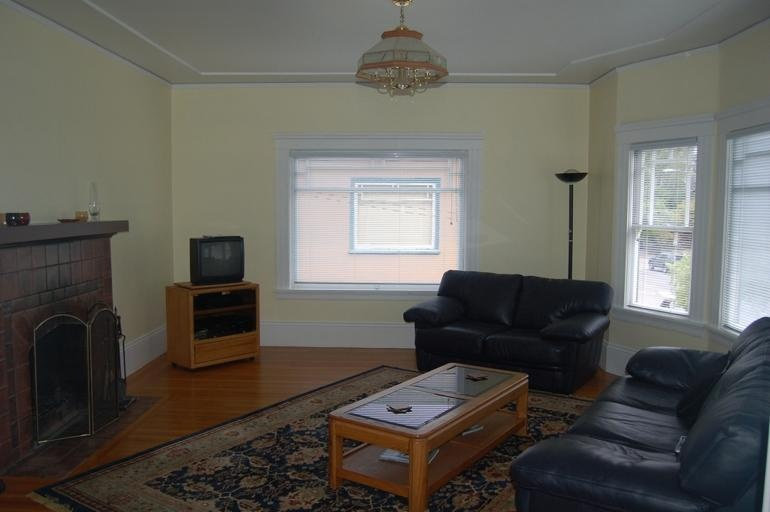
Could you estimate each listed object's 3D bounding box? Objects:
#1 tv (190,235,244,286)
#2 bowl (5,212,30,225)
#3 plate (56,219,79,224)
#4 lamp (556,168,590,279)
[{"bbox_3d":[-1.888,0.057,6.145,0.598,0.497,0.322,-1,1,-41],"label":"tv"},{"bbox_3d":[-2.765,-0.296,4.128,0.098,0.098,0.146,16,2,36],"label":"bowl"},{"bbox_3d":[-2.629,-0.292,4.586,0.136,0.019,0.380,-6,13,-28],"label":"plate"},{"bbox_3d":[2.133,-0.352,6.393,0.323,1.290,0.763,5,14,18],"label":"lamp"}]
